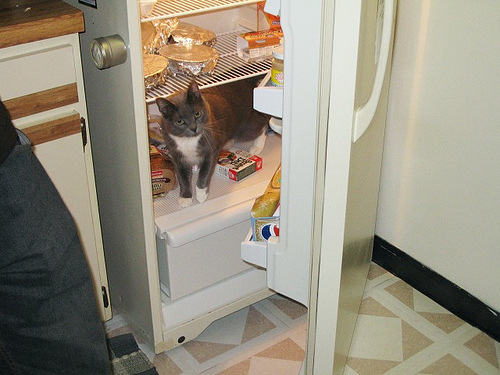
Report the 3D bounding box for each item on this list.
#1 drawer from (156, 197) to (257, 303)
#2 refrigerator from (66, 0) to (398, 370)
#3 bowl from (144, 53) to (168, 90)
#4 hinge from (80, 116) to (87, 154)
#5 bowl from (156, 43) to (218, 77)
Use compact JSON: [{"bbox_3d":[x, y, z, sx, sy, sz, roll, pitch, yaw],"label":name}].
[{"bbox_3d":[-0.206,0.229,1.703,0.384,0.373,0.311,-17,35,-28],"label":"drawer"},{"bbox_3d":[-0.030,-0.054,1.516,1.033,1.267,0.858,19,38,29],"label":"refrigerator"},{"bbox_3d":[-0.334,-0.387,1.485,0.099,0.040,0.111,-23,52,-19],"label":"bowl"},{"bbox_3d":[-0.534,-0.176,1.359,0.016,0.082,0.021,-1,8,-7],"label":"hinge"},{"bbox_3d":[-0.213,-0.451,1.517,0.128,0.051,0.153,13,33,7],"label":"bowl"}]
